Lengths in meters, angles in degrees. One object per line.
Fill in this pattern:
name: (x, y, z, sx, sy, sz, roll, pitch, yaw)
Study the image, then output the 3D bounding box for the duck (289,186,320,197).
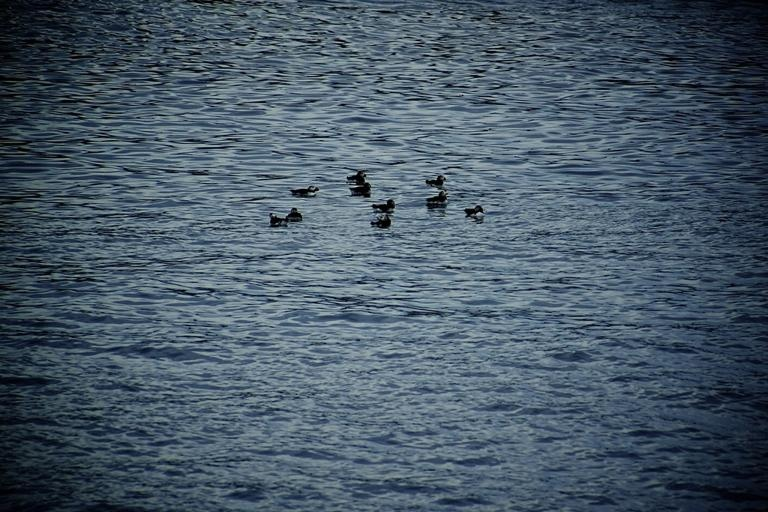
duck: (-3.080, -2.501, 42.811, 1.066, 0.726, 0.507, -5, 76, -1)

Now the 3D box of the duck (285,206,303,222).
duck: (-3.256, -1.523, 40.808, 0.890, 0.221, 0.450, 5, 108, -5)
